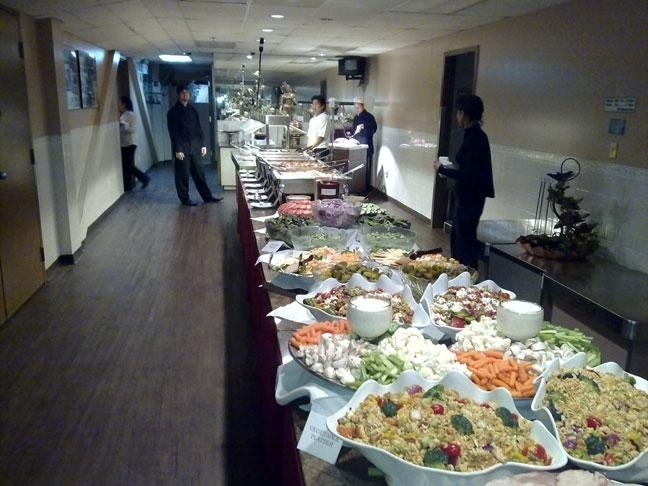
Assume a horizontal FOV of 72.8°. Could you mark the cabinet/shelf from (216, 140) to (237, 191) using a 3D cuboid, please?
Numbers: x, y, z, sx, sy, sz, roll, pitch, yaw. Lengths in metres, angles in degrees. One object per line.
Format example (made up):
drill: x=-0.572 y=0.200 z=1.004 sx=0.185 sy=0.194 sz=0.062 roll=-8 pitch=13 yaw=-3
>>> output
cabinet/shelf: x=-2.029 y=-1.596 z=9.215 sx=0.529 sy=0.992 sz=1.060 roll=-1 pitch=24 yaw=-9

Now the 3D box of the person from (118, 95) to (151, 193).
person: x=-3.911 y=-1.946 z=8.877 sx=0.471 sy=1.874 sz=0.747 roll=-9 pitch=22 yaw=-20

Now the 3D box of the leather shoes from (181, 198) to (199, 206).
leather shoes: x=-2.436 y=-0.733 z=7.987 sx=0.333 sy=0.156 sz=0.115 roll=-4 pitch=24 yaw=-4

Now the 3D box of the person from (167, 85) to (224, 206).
person: x=-2.388 y=-1.720 z=7.923 sx=0.700 sy=2.073 sz=0.818 roll=-8 pitch=21 yaw=-18

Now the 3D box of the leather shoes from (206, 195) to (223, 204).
leather shoes: x=-2.027 y=-0.802 z=8.252 sx=0.325 sy=0.147 sz=0.107 roll=-16 pitch=21 yaw=-22
